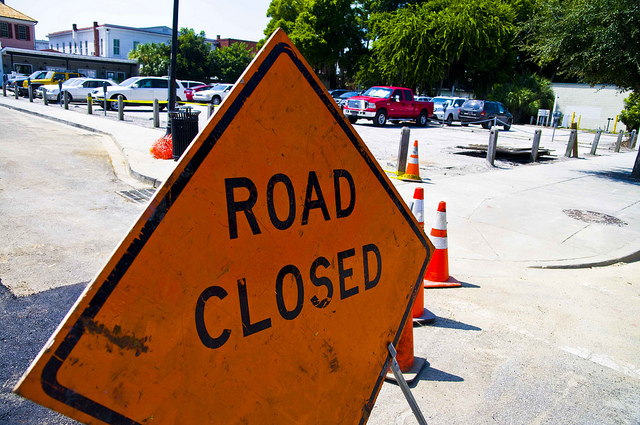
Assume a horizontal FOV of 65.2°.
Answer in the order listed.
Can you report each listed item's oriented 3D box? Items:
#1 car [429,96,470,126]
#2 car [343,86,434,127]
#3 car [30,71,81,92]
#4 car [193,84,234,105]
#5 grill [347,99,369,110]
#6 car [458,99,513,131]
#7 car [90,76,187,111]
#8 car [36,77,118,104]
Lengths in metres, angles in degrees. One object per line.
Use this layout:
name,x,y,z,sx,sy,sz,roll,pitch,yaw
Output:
car,8.223,-6.525,32.233,1.669,1.409,3.107,11,20,33
car,3.500,-5.339,26.447,6.917,2.561,3.352,-12,20,-43
car,-17.081,-8.417,32.508,3.081,1.642,1.793,-13,29,-36
car,-6.656,-7.462,31.460,2.098,1.151,1.534,16,17,43
grill,1.813,-5.239,24.196,1.113,0.457,0.233,13,15,35
car,10.715,-6.274,32.055,3.997,1.848,1.974,-9,19,-38
car,-9.936,-6.530,28.270,5.073,2.110,2.151,-6,6,-32
car,-13.915,-7.214,29.671,2.298,1.612,4.766,15,17,41
